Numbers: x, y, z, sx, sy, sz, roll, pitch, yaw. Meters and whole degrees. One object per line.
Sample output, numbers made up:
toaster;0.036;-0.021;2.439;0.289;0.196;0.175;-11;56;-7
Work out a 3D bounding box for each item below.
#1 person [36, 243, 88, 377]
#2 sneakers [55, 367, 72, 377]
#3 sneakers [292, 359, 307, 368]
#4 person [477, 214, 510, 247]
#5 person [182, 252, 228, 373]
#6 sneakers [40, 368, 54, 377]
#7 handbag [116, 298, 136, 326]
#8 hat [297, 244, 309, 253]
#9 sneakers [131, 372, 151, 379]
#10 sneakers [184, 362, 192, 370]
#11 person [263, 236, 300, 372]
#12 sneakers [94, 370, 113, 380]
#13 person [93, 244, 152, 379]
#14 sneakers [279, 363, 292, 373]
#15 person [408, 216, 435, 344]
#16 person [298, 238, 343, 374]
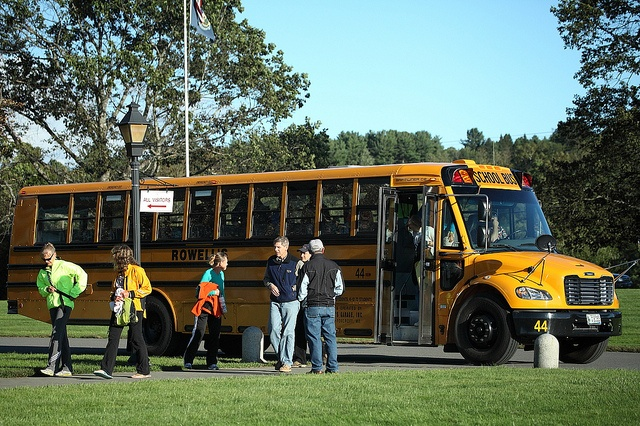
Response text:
person;-5.190;1.910;13.268;0.917;2.635;0.579;5;-12;-26
sneakers;-5.040;3.153;13.063;0.259;0.134;0.111;5;-7;-7
sneakers;-0.452;3.317;14.560;0.119;0.174;0.366;-5;-15;30
person;3.590;0.412;14.529;0.630;0.700;0.702;-8;-8;41
person;-2.530;2.145;14.777;0.839;2.599;0.641;2;-11;-8
sneakers;-5.295;3.123;12.952;0.298;0.155;0.143;8;0;18
handbag;-3.696;1.882;12.585;0.453;0.589;0.288;2;-1;-2
hat;-0.384;0.781;14.884;0.225;0.133;0.368;-2;-2;35
sneakers;-3.449;3.139;12.767;0.306;0.108;0.131;6;-6;4
sneakers;-2.887;3.321;14.383;0.183;0.131;0.194;-2;-12;7
person;-0.786;1.856;13.571;0.707;2.739;0.679;-2;-11;11
sneakers;-4.070;3.044;12.577;0.150;0.175;0.419;-6;-27;37
person;-3.698;1.888;12.725;0.908;2.498;0.482;4;-11;-20
sneakers;-0.730;3.147;13.492;0.204;0.161;0.131;1;-11;-3
person;2.290;1.454;14.647;0.440;2.831;0.867;1;-11;-7
person;-0.004;1.809;13.024;0.867;2.597;0.498;1;-11;-5
